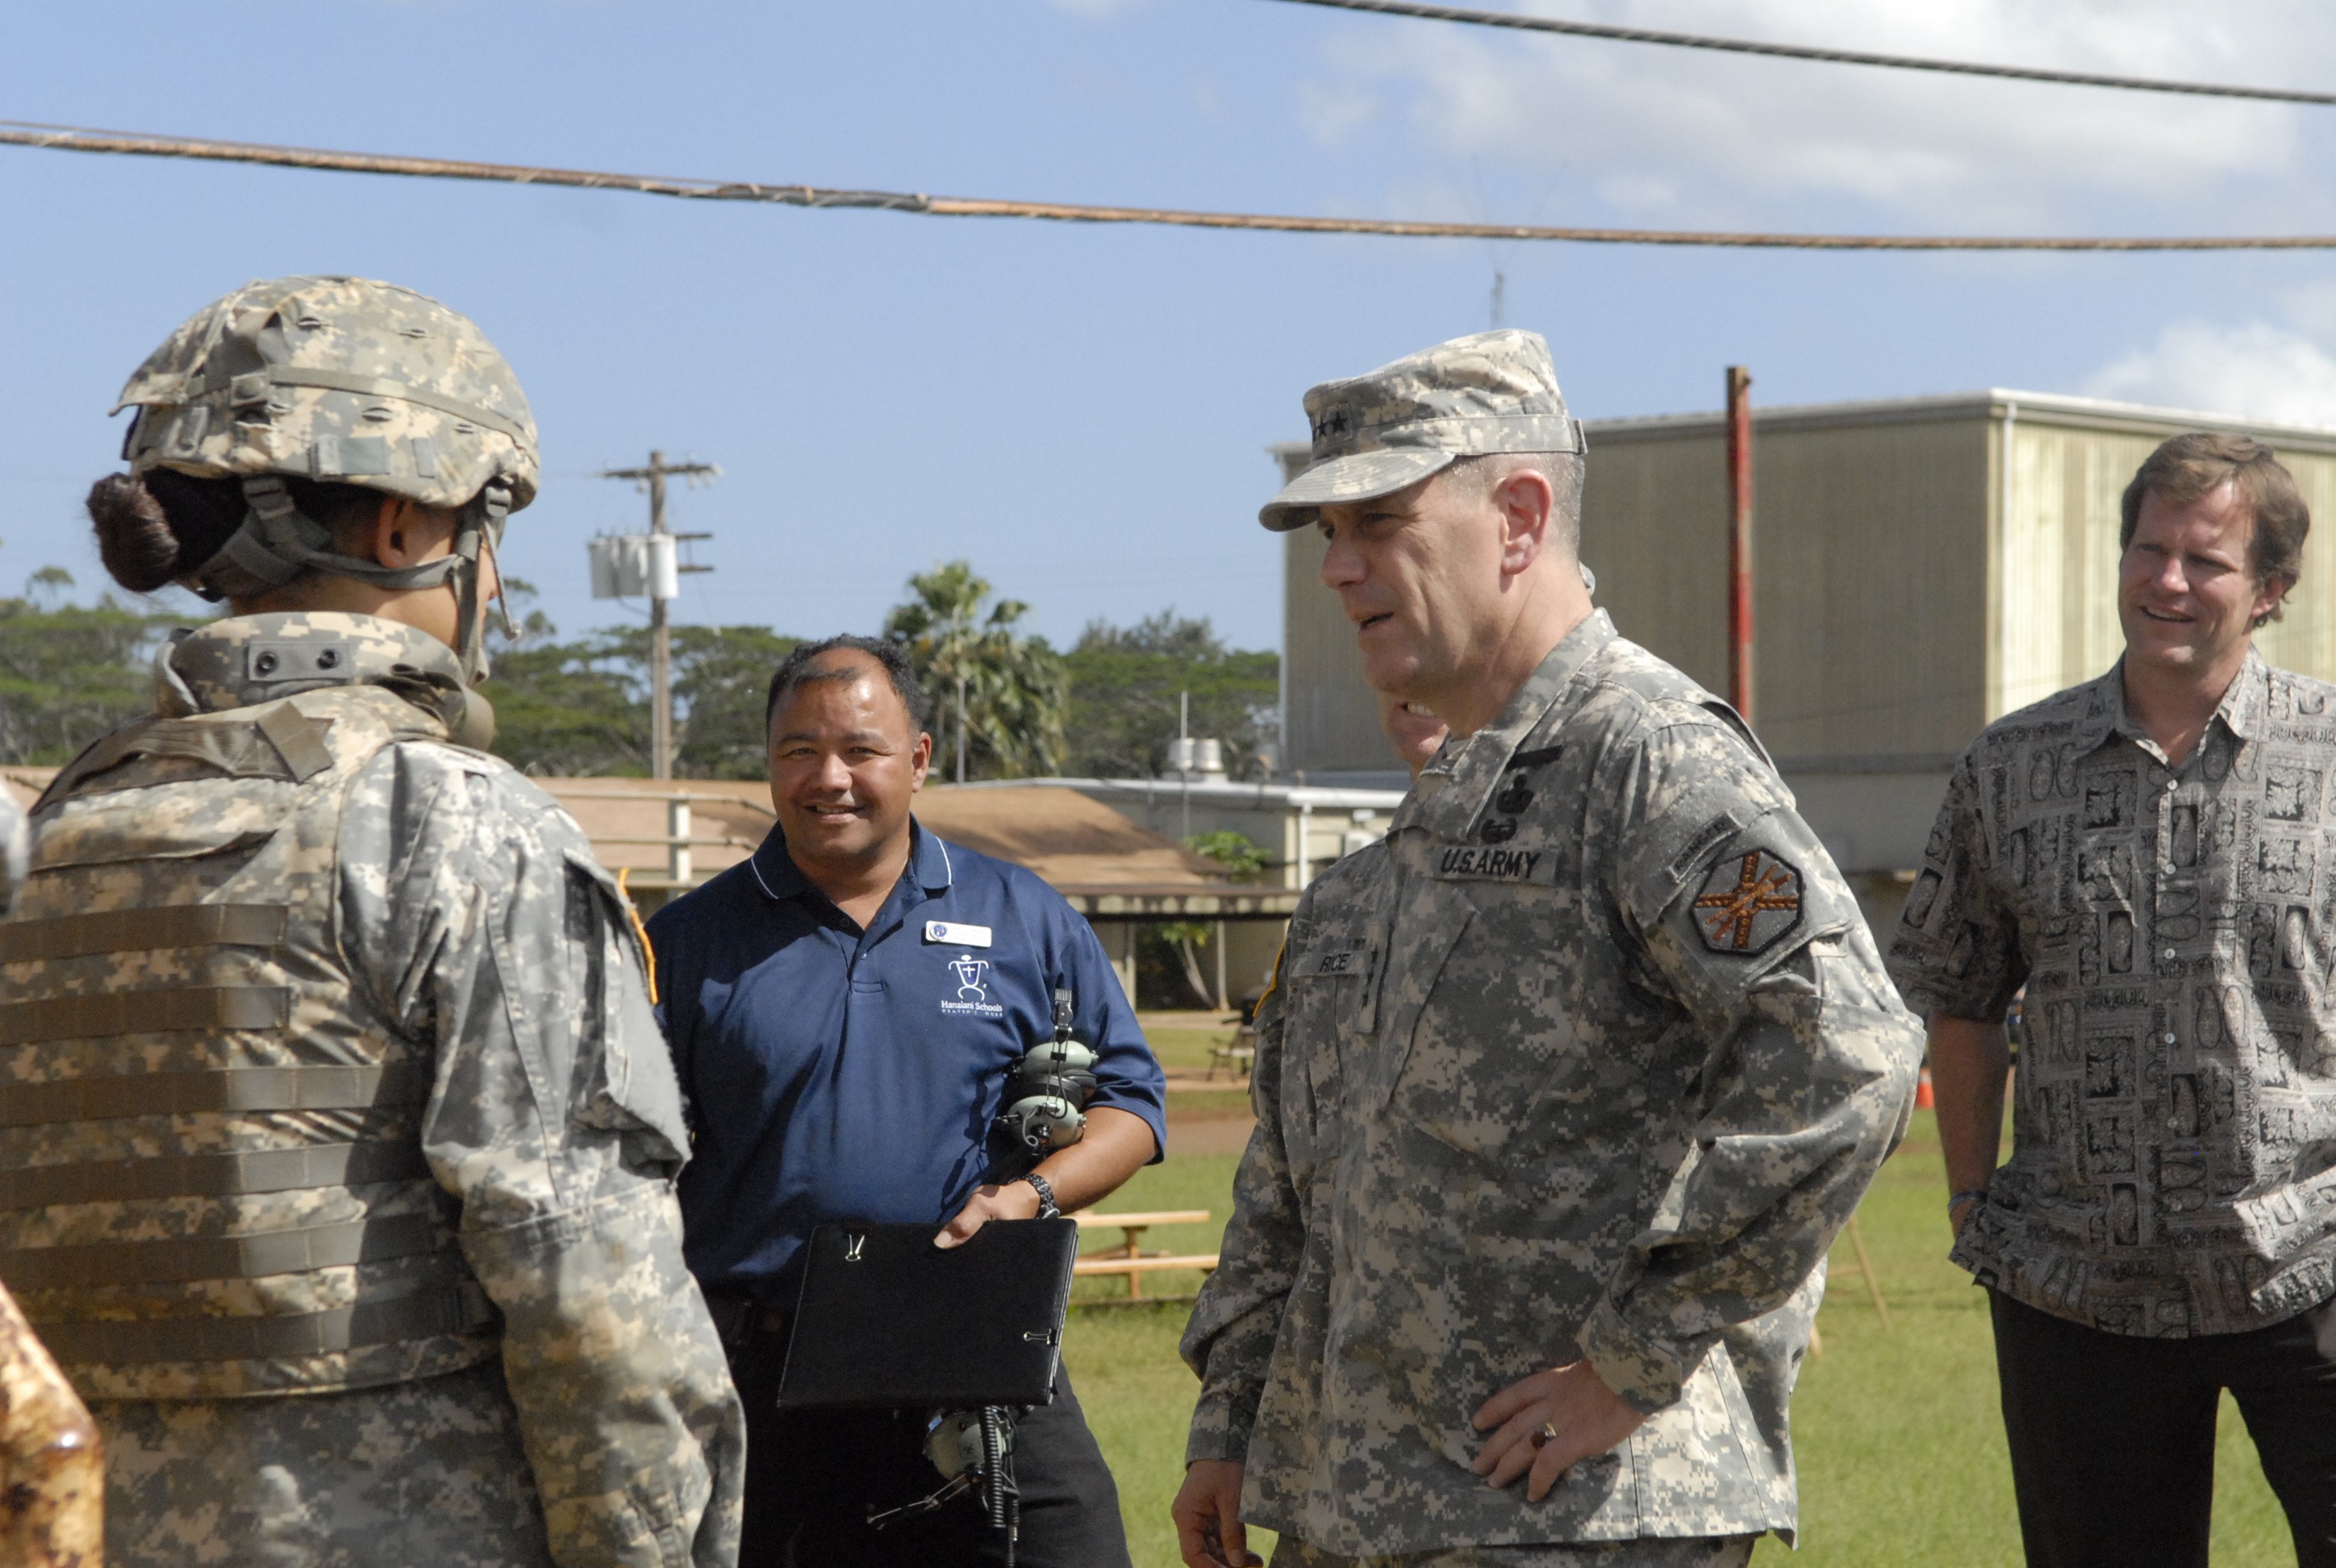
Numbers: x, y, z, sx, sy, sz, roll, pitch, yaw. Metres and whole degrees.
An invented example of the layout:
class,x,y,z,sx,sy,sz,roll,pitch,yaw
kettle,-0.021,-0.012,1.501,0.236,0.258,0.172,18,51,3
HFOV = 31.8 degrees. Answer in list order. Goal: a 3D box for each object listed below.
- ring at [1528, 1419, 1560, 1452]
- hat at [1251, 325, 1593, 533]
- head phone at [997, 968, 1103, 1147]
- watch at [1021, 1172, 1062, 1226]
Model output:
class,x,y,z,sx,sy,sz,roll,pitch,yaw
ring,0.775,1.337,8.462,0.043,0.060,0.020,30,10,19
hat,0.556,-0.819,9.080,0.809,0.356,0.565,-8,-1,-25
head phone,-0.299,0.703,10.417,0.188,0.399,0.220,-1,-1,2
watch,-0.312,1.025,10.257,0.073,0.095,0.108,3,-19,5
